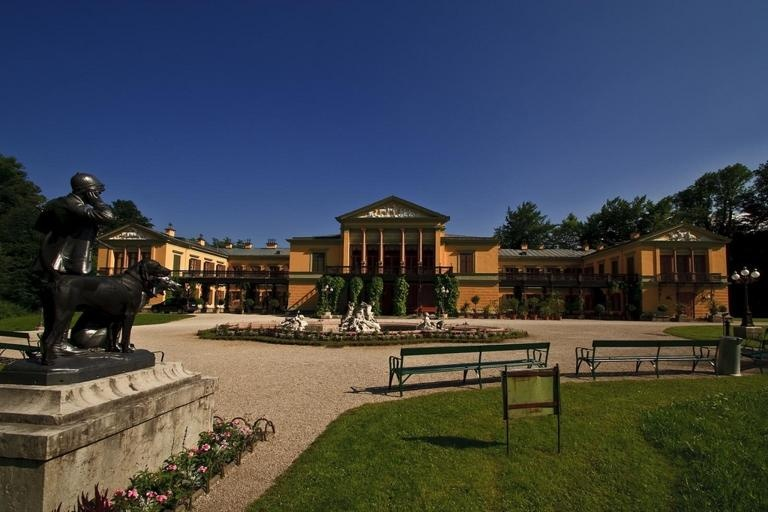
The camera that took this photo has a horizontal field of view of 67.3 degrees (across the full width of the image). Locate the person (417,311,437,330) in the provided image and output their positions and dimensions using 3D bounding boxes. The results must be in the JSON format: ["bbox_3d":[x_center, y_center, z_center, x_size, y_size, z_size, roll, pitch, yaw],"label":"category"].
[{"bbox_3d":[2.221,3.481,30.831,1.098,0.979,1.585,2,-15,-5],"label":"person"}]

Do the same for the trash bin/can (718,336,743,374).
[{"bbox_3d":[9.381,2.739,15.726,0.560,0.984,0.532,1,2,29],"label":"trash bin/can"}]

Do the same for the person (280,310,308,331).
[{"bbox_3d":[-4.693,3.324,29.581,1.602,0.926,1.893,0,-10,6],"label":"person"}]

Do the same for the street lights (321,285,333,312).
[{"bbox_3d":[-4.166,3.074,41.698,0.793,1.919,0.528,-2,3,-42],"label":"street lights"}]

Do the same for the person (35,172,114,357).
[{"bbox_3d":[-5.414,-0.423,10.022,1.124,1.934,0.471,-1,3,-27],"label":"person"}]
